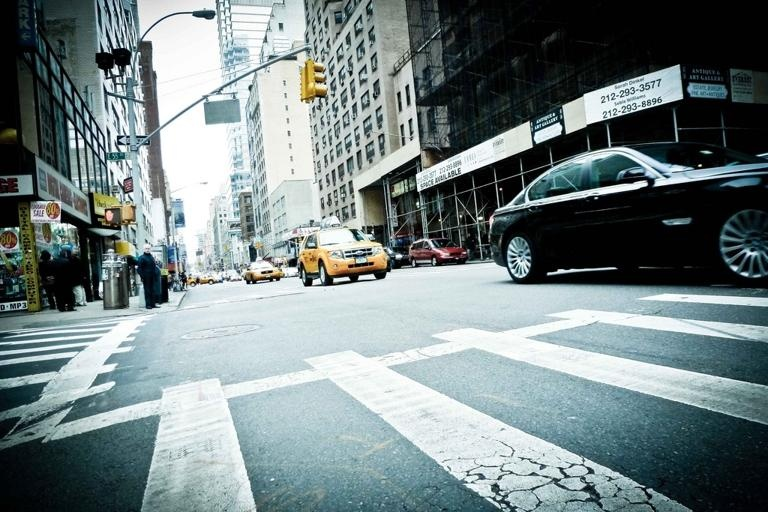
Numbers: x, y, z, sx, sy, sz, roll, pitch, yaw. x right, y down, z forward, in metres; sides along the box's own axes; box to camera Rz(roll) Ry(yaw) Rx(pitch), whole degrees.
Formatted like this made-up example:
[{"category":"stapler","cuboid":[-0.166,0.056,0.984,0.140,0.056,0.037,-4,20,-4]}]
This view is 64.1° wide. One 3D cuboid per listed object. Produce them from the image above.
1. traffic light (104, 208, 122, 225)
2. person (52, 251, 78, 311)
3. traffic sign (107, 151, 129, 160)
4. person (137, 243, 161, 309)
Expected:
[{"category":"traffic light","cuboid":[-7.950,-1.195,18.068,0.495,0.498,0.269,0,4,3]},{"category":"person","cuboid":[-9.681,0.677,18.570,0.552,2.041,0.939,-6,2,-20]},{"category":"traffic sign","cuboid":[-8.371,-3.203,19.355,0.516,0.314,0.647,-7,2,-21]},{"category":"person","cuboid":[-6.853,0.598,17.907,0.522,1.828,0.825,-6,2,-16]}]
